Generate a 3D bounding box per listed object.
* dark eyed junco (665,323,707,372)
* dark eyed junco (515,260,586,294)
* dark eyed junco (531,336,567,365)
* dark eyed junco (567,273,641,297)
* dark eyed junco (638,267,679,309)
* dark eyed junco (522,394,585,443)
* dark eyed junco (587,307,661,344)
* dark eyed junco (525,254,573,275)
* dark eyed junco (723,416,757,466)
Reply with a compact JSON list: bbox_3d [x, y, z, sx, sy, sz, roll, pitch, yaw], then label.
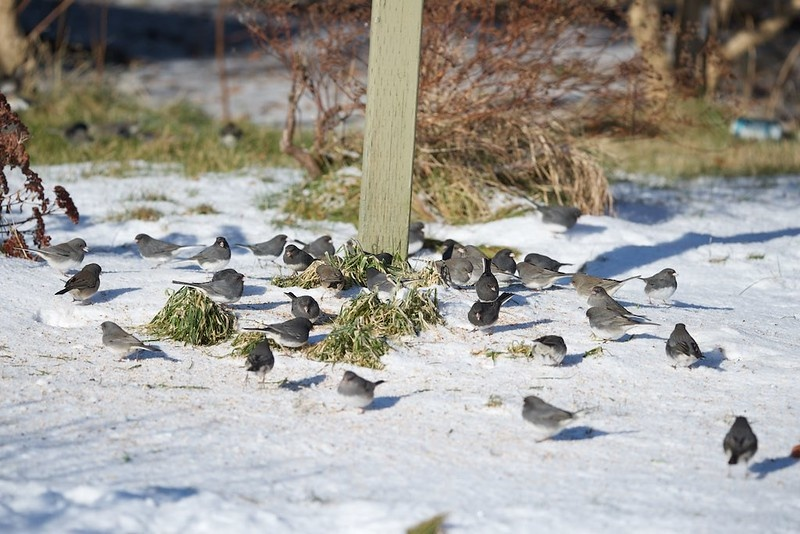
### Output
[{"bbox_3d":[4.265,1.123,13.964,0.455,0.603,0.784,6,-2,-16],"label":"dark eyed junco"},{"bbox_3d":[2.544,0.140,15.988,0.961,0.411,0.528,-14,39,12],"label":"dark eyed junco"},{"bbox_3d":[2.173,1.189,13.751,0.451,0.427,0.175,1,14,7],"label":"dark eyed junco"},{"bbox_3d":[3.390,0.256,15.618,1.264,0.508,0.382,-3,3,22],"label":"dark eyed junco"},{"bbox_3d":[4.312,0.282,15.967,0.500,0.650,0.836,-7,13,-42],"label":"dark eyed junco"},{"bbox_3d":[2.024,2.007,12.850,1.032,0.600,0.356,-3,-3,-34],"label":"dark eyed junco"},{"bbox_3d":[3.324,0.861,14.470,0.822,0.508,0.720,-2,14,-5],"label":"dark eyed junco"},{"bbox_3d":[2.646,-0.069,16.384,0.987,0.412,0.302,-3,3,20],"label":"dark eyed junco"},{"bbox_3d":[4.489,2.245,12.492,0.334,0.640,0.436,2,-19,16],"label":"dark eyed junco"}]
